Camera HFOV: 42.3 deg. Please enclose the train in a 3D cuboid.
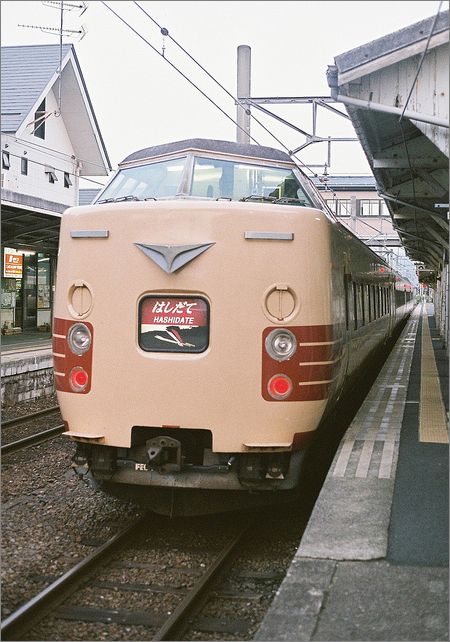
[{"bbox_3d":[-0.157,-0.003,4.102,2.044,2.672,1.280,0,-1,-16],"label":"train"}]
